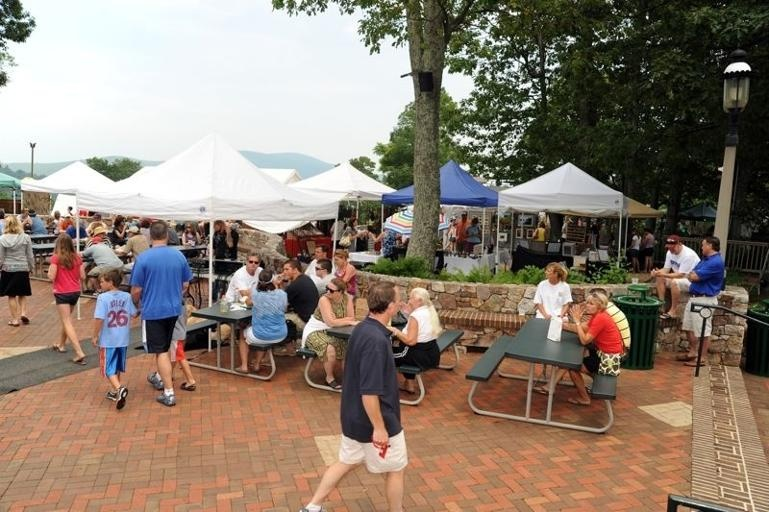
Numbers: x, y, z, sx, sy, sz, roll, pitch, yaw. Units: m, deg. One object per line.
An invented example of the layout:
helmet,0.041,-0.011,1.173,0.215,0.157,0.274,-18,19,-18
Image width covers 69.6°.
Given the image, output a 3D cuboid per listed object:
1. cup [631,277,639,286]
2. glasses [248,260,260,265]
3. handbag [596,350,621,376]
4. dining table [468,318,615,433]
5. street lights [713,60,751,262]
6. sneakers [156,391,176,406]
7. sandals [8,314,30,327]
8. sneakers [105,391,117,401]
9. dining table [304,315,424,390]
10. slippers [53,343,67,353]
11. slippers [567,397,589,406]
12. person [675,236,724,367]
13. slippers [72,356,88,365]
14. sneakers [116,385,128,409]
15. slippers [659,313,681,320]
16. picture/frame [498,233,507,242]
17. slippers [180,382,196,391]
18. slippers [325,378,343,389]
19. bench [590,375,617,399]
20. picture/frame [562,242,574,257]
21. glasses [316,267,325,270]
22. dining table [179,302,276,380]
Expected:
cup,5.667,0.592,12.601,0.174,0.127,0.158,1,-1,-16
glasses,-2.553,0.125,10.894,0.127,0.100,0.284,2,4,20
handbag,3.732,1.786,9.229,0.378,0.374,0.254,3,5,21
dining table,2.418,1.872,9.210,1.900,0.901,2.090,5,10,21
street lights,7.216,-2.129,11.552,0.440,4.212,0.912,4,6,30
sneakers,-3.589,2.349,9.117,0.279,0.227,0.227,-1,4,-22
sandals,-8.177,1.477,12.422,0.497,0.197,0.183,-5,-5,39
sneakers,-4.474,2.294,9.074,0.123,0.143,0.331,35,-14,-29
dining table,-0.596,1.666,9.707,1.655,0.768,1.625,1,3,24
slippers,-6.409,1.823,10.908,0.289,0.073,0.129,11,8,27
slippers,3.396,2.543,9.668,0.239,0.045,0.121,4,7,35
person,6.390,0.928,11.193,0.670,2.629,1.245,4,5,29
slippers,-5.728,1.963,10.472,0.257,0.162,0.250,4,5,38
sneakers,-4.228,2.264,8.908,0.166,0.358,0.138,12,0,17
slippers,6.150,1.322,11.992,0.366,0.092,0.165,5,-8,-28
picture/frame,4.905,-0.770,22.995,0.472,0.295,0.467,-1,-2,-44
slippers,-3.430,2.266,9.602,0.278,0.142,0.097,2,4,10
slippers,-0.919,2.260,9.837,0.188,0.108,0.341,-3,5,-41
bench,3.448,2.084,8.730,0.396,0.124,0.515,3,14,21
picture/frame,6.246,-0.235,18.860,0.376,0.433,1.388,2,4,19
glasses,-1.204,0.248,10.318,0.151,0.056,0.053,0,4,-16
dining table,-2.778,1.569,10.458,1.628,0.747,1.596,3,4,21
